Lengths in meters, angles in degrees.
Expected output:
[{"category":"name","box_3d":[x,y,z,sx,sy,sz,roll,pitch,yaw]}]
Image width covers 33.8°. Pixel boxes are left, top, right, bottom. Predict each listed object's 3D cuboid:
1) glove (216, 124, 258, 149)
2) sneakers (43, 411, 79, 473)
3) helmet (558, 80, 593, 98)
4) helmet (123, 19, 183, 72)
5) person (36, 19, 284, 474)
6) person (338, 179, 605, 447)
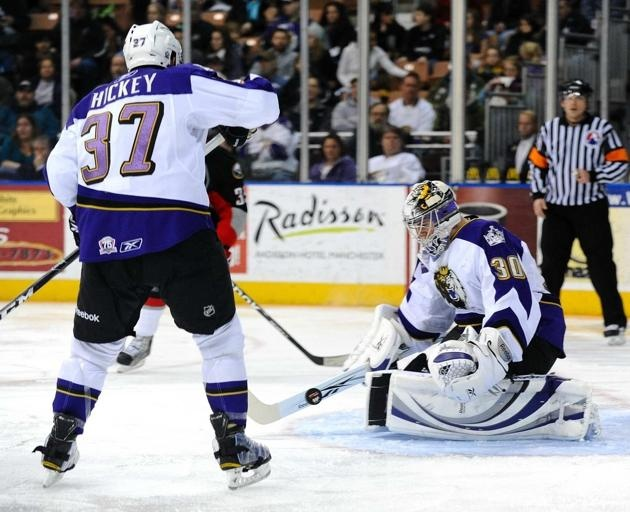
[{"category":"glove","box_3d":[-0.298,-0.447,3.851,0.112,0.052,0.082,23,-16,49]},{"category":"sneakers","box_3d":[-0.907,0.673,3.698,0.143,0.216,0.086,-1,7,-11]},{"category":"helmet","box_3d":[1.539,-0.976,6.062,0.176,0.094,0.131,1,6,12]},{"category":"helmet","box_3d":[-0.597,-0.772,3.861,0.177,0.176,0.219,4,15,31]},{"category":"person","box_3d":[-0.569,-0.033,3.746,0.868,1.635,0.425,0,7,-2]},{"category":"person","box_3d":[0.655,0.293,4.197,1.208,1.161,0.978,1,-12,-6]}]
